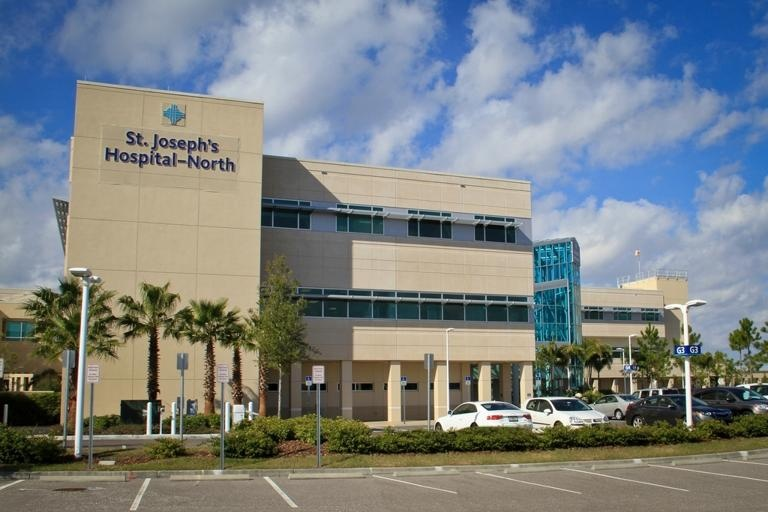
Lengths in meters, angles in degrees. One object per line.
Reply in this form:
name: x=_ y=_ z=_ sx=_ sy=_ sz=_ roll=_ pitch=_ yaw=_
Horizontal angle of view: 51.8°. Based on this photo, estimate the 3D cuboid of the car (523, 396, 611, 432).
car: x=9.335 y=8.036 z=41.025 sx=3.850 sy=1.643 sz=2.288 roll=-6 pitch=-15 yaw=13

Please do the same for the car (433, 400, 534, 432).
car: x=5.031 y=7.996 z=39.995 sx=4.749 sy=1.366 sz=1.527 roll=-11 pitch=-16 yaw=28
